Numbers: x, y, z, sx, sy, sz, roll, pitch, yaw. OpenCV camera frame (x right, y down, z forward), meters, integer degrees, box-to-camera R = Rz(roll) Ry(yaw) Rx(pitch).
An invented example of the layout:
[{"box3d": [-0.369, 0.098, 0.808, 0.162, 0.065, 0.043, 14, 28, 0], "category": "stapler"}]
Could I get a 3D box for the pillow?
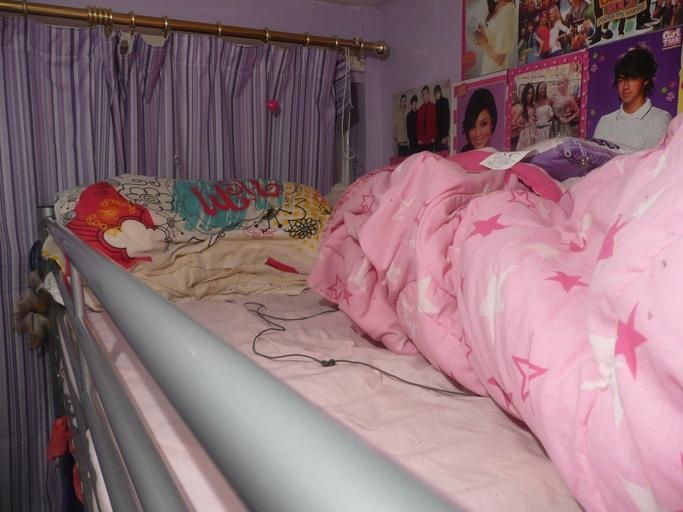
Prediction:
[{"box3d": [-0.559, -0.090, 1.970, 0.796, 0.236, 0.626, -2, 37, -14], "category": "pillow"}]
